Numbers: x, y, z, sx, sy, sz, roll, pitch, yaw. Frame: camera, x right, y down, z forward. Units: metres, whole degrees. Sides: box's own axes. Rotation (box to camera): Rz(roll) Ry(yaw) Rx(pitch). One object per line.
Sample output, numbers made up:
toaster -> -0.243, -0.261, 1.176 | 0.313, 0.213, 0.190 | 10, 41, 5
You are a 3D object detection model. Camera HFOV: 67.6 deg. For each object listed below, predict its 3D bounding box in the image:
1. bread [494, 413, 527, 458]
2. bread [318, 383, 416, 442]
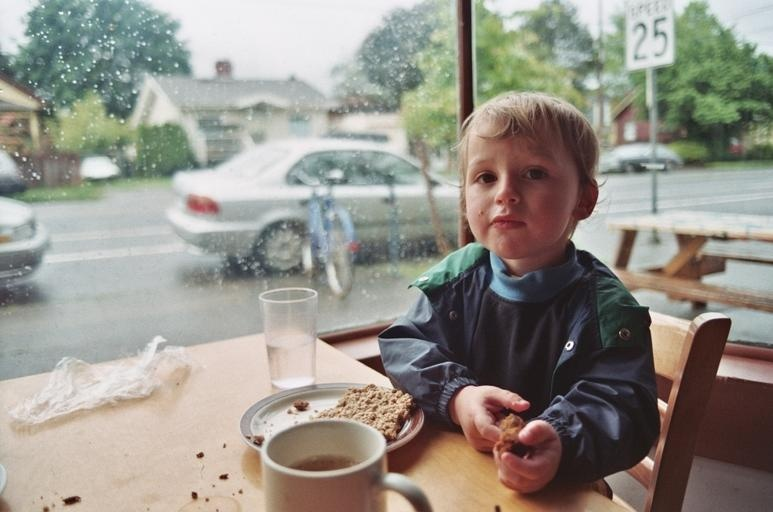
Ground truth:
bread -> 0.230, 0.319, 1.053 | 0.071, 0.071, 0.023 | 17, -3, -21
bread -> -0.022, 0.304, 1.172 | 0.104, 0.024, 0.111 | 12, 23, 24
